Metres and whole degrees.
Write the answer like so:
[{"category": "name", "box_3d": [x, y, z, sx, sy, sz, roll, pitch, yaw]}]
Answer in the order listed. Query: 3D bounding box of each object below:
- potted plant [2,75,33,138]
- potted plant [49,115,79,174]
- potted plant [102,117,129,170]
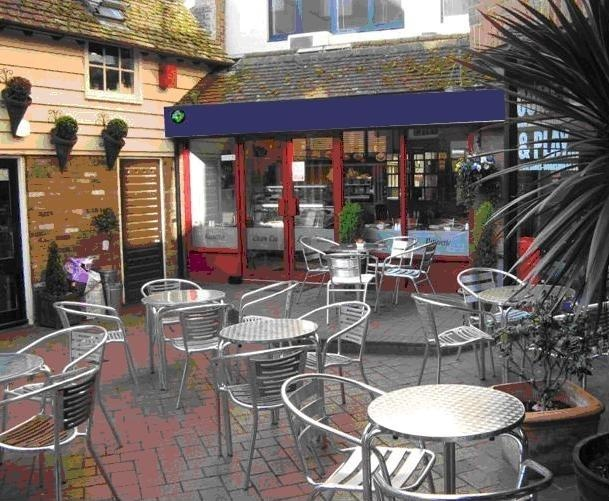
[{"category": "potted plant", "box_3d": [-4.448, -2.214, 8.853, 0.401, 0.886, 0.315, -10, 8, -36]}, {"category": "potted plant", "box_3d": [-4.036, -1.786, 9.625, 0.423, 0.913, 0.423, -11, 9, -42]}, {"category": "potted plant", "box_3d": [-3.470, -1.942, 10.439, 0.348, 0.911, 0.388, -2, 8, 26]}]
